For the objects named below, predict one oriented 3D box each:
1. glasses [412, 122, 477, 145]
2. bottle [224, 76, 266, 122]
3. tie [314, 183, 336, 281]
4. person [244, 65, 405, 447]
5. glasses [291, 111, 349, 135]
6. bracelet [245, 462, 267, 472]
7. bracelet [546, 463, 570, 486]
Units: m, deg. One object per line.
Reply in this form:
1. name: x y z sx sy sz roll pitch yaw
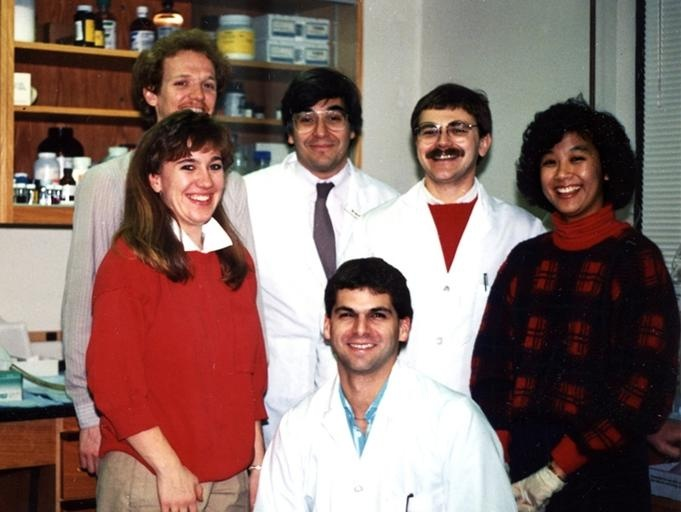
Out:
1. glasses: 0.365 -0.434 2.351 0.216 0.075 0.060 1 6 10
2. bottle: -0.501 -0.770 3.378 0.189 0.323 0.190 -1 4 0
3. tie: -0.062 -0.094 2.612 0.073 0.398 0.049 -1 -17 -4
4. person: -0.070 0.215 2.740 0.732 1.891 0.547 -5 9 -8
5. glasses: -0.082 -0.513 2.579 0.195 0.090 0.028 0 6 3
6. bracelet: -0.260 0.640 2.035 0.043 0.033 0.039 -17 -30 20
7. bracelet: 0.638 0.641 1.980 0.058 0.041 0.057 24 17 -45
